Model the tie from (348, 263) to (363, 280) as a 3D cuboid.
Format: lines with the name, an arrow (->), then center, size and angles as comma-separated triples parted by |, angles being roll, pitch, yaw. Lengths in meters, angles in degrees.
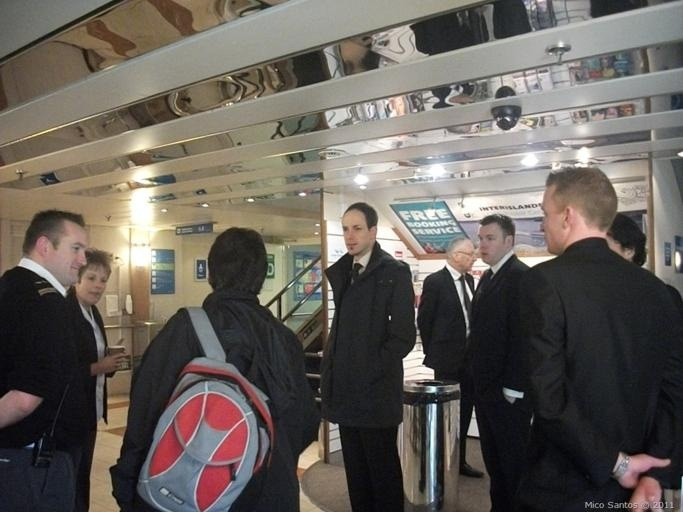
tie -> 0.119, 0.126, 3.929 | 0.084, 0.137, 0.074 | 3, -9, 39

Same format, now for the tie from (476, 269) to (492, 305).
tie -> 1.236, 0.279, 4.271 | 0.069, 0.237, 0.186 | 24, -7, -6

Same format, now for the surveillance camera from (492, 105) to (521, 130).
surveillance camera -> 1.231, -1.004, 3.686 | 0.180, 0.129, 0.175 | 2, -11, 12

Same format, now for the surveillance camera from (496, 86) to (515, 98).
surveillance camera -> 1.136, -1.134, 3.403 | 0.067, 0.045, 0.058 | -1, 2, 9
